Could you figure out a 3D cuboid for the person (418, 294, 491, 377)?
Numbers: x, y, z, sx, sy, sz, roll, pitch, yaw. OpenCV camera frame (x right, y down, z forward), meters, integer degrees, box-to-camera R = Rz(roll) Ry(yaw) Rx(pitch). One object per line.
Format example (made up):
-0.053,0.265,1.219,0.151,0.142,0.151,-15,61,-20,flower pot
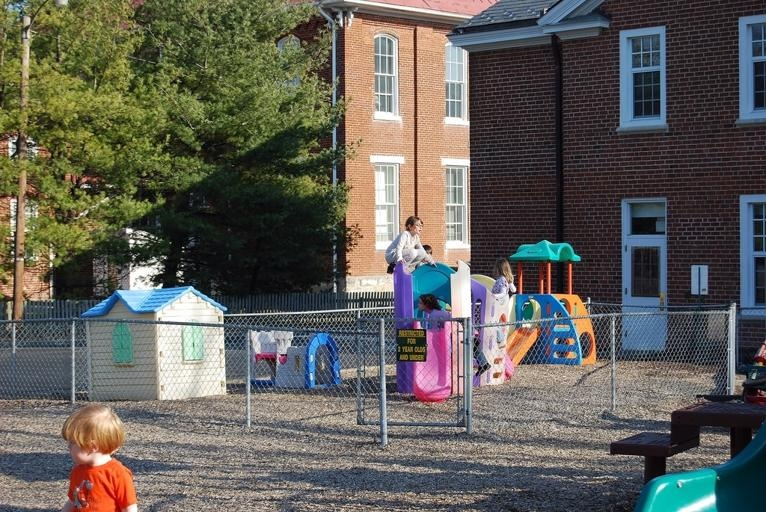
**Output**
1.194,2.473,37.970,1.029,1.866,1.129,-4,14,-27,person

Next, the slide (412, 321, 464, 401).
1.493,2.619,37.292,0.913,2.133,0.992,1,0,-20,slide

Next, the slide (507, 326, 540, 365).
3.591,2.286,40.892,0.424,0.443,1.598,5,41,31,slide
